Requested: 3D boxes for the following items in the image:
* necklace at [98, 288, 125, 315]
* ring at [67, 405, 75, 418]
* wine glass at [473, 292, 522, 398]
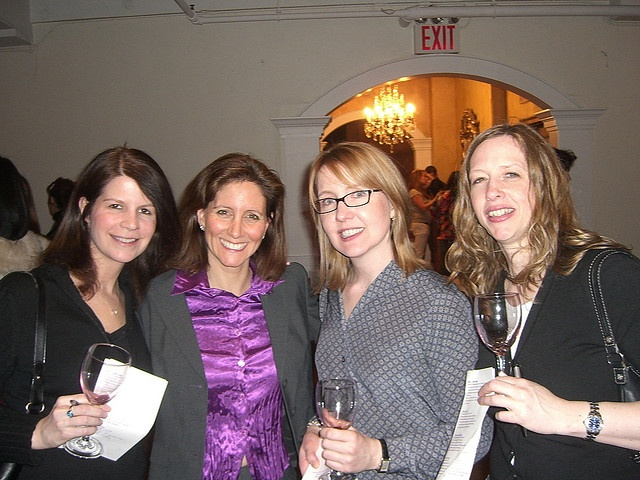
[{"bbox_3d":[-1.023,0.308,2.653,0.033,0.108,0.123,-19,-34,38],"label":"necklace"},{"bbox_3d":[-1.030,0.711,2.232,0.037,0.040,0.015,17,-7,-12],"label":"ring"},{"bbox_3d":[0.780,0.418,2.318,0.202,0.380,0.268,8,11,43],"label":"wine glass"}]
